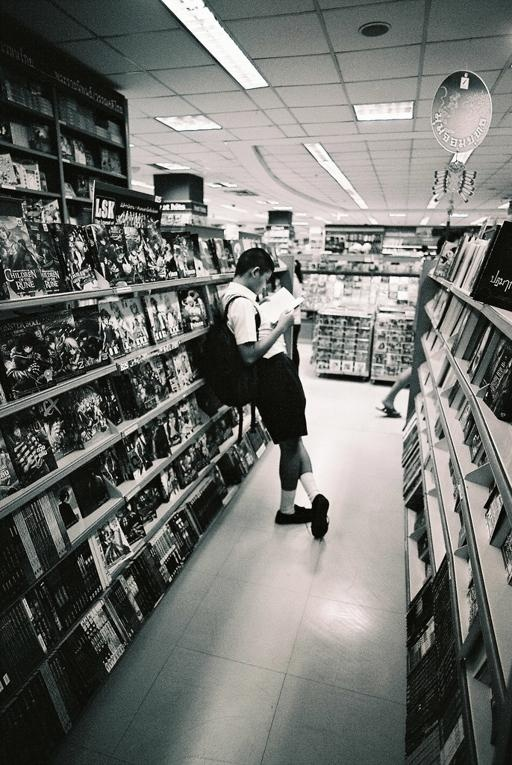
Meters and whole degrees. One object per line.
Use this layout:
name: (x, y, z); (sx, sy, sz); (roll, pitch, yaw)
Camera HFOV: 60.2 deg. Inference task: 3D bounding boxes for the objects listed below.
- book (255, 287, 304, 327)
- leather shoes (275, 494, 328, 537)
book: (0.140, -0.494, 2.840); (0.248, 0.065, 0.275); (-37, 44, 20)
leather shoes: (0.250, 0.850, 2.786); (0.442, 0.220, 0.168); (-6, 27, 9)
